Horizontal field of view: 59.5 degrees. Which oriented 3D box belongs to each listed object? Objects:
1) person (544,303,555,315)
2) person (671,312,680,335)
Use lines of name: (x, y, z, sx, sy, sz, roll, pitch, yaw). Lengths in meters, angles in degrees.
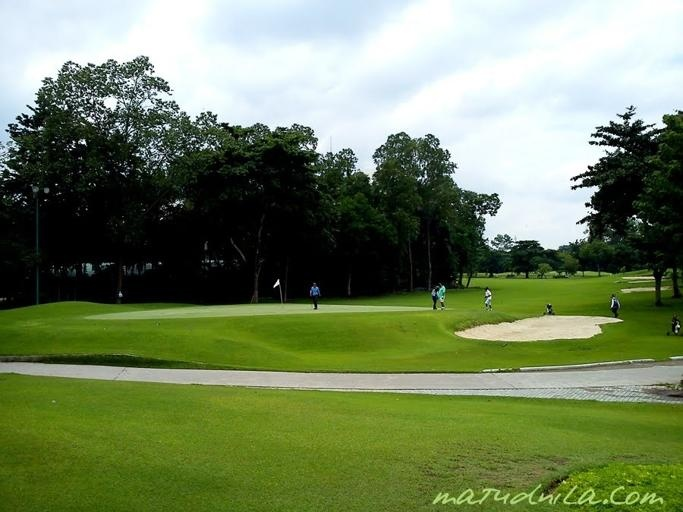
person: (18.444, 4.826, 53.004, 0.724, 1.088, 0.899, 4, 12, 41)
person: (20.931, 4.389, 37.297, 0.383, 1.254, 2.294, -2, -6, 31)
